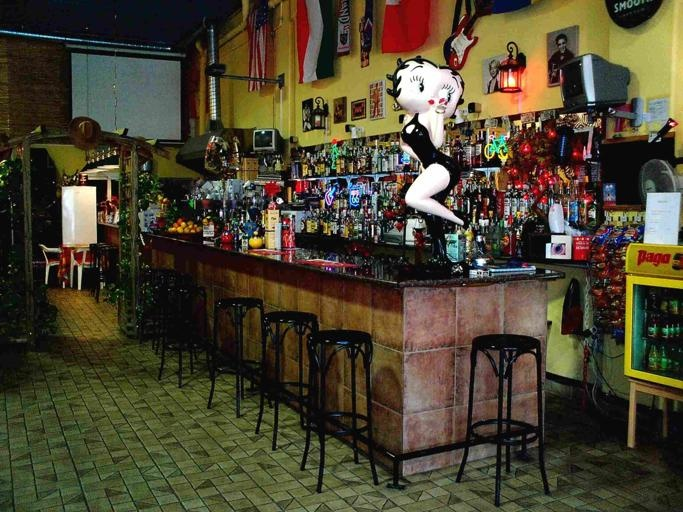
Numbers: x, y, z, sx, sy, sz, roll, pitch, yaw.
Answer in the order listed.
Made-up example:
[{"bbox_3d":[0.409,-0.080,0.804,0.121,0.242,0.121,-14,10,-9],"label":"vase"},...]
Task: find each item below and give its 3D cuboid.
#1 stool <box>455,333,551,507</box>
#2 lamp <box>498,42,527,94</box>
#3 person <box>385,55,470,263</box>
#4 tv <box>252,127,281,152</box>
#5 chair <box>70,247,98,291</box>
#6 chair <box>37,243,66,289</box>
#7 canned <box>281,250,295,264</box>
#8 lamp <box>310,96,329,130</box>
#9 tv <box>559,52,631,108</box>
[{"bbox_3d":[1.308,1.145,4.679,0.685,1.110,0.949,6,10,38],"label":"stool"},{"bbox_3d":[1.874,-2.090,6.754,0.256,0.579,0.279,-6,10,-39],"label":"lamp"},{"bbox_3d":[0.712,-0.797,4.946,0.663,1.580,0.384,1,8,8],"label":"person"},{"bbox_3d":[-1.348,-2.059,10.930,0.381,0.329,0.417,1,10,1],"label":"tv"},{"bbox_3d":[-5.200,0.205,12.446,0.509,0.878,0.602,-1,10,-37],"label":"chair"},{"bbox_3d":[-6.051,0.151,12.573,0.570,0.725,0.567,7,5,-45],"label":"chair"},{"bbox_3d":[-0.535,0.005,6.164,0.092,0.183,0.170,2,-4,-1],"label":"canned"},{"bbox_3d":[-0.354,-2.322,9.977,0.241,0.497,0.234,-4,10,-14],"label":"lamp"},{"bbox_3d":[2.414,-1.610,5.776,0.551,0.443,0.583,-2,7,-2],"label":"tv"}]
